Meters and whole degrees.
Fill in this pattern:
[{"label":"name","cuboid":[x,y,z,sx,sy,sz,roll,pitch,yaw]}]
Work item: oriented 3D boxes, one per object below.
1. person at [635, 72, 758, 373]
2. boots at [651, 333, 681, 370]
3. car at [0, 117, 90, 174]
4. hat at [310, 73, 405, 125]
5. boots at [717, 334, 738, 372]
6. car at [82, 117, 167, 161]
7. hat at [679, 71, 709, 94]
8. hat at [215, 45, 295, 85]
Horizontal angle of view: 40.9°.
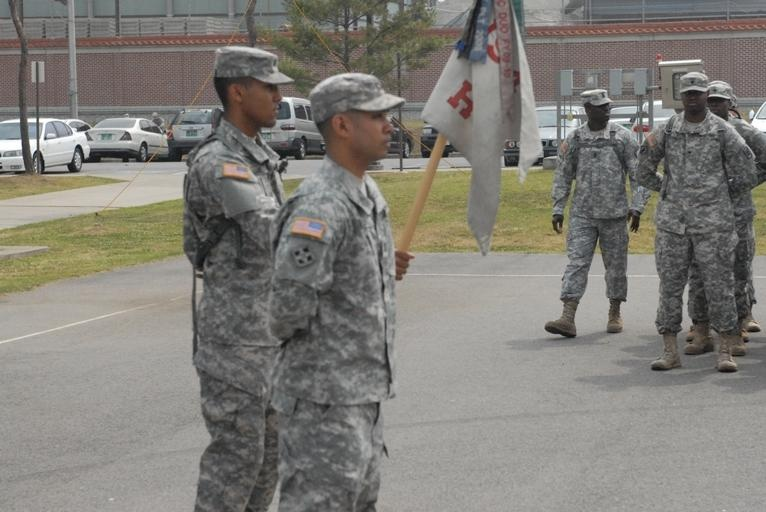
[{"label":"person","cuboid":[2.912,-0.333,9.704,1.074,2.745,0.807,5,14,22]},{"label":"boots","cuboid":[2.654,0.906,9.727,0.190,0.322,0.413,3,7,40]},{"label":"car","cuboid":[-10.011,-3.210,29.982,1.486,0.825,2.776,0,1,21]},{"label":"hat","cuboid":[-0.149,-0.840,5.527,0.441,0.164,0.287,-12,5,7]},{"label":"boots","cuboid":[3.224,0.906,9.612,0.184,0.331,0.293,4,12,17]},{"label":"car","cuboid":[-8.603,-3.870,34.613,1.445,1.475,2.244,8,13,33]},{"label":"hat","cuboid":[2.890,-1.619,9.554,0.220,0.122,0.283,2,7,27]},{"label":"hat","cuboid":[-0.792,-1.157,6.223,0.406,0.126,0.257,-3,10,-11]}]
